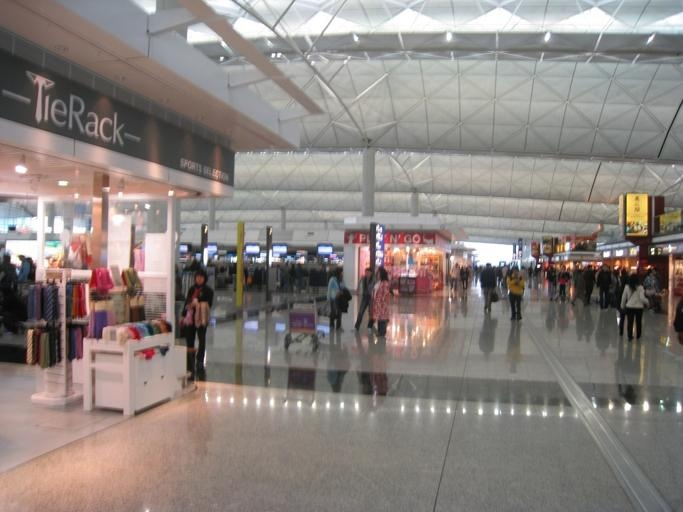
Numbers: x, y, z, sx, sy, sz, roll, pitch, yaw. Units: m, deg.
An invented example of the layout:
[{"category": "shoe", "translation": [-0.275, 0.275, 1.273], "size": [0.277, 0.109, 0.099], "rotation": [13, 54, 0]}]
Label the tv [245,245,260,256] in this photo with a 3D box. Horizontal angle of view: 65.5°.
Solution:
[{"category": "tv", "translation": [-8.017, -0.528, 47.431], "size": [1.095, 1.019, 1.720], "rotation": [2, -2, -10]}]

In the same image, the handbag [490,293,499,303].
[{"category": "handbag", "translation": [6.803, 1.854, 23.536], "size": [0.398, 0.482, 0.422], "rotation": [-1, -5, 0]}]

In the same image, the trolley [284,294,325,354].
[{"category": "trolley", "translation": [-1.033, 1.937, 14.151], "size": [0.941, 1.412, 1.281], "rotation": [-3, -22, 8]}]

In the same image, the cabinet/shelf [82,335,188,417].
[{"category": "cabinet/shelf", "translation": [-3.676, 2.028, 9.411], "size": [0.888, 1.194, 1.697], "rotation": [-1, -5, 6]}]
